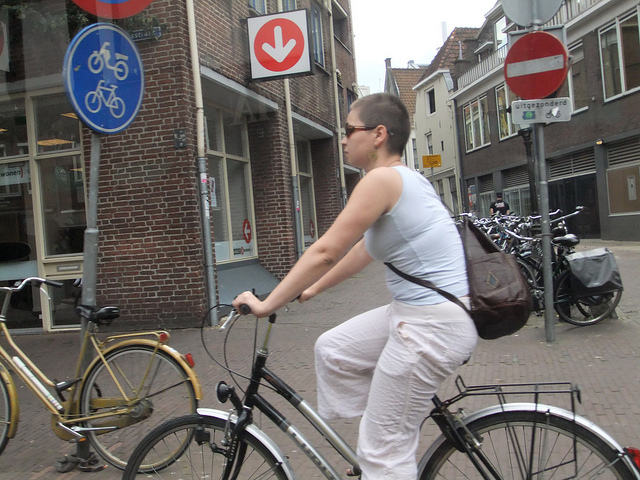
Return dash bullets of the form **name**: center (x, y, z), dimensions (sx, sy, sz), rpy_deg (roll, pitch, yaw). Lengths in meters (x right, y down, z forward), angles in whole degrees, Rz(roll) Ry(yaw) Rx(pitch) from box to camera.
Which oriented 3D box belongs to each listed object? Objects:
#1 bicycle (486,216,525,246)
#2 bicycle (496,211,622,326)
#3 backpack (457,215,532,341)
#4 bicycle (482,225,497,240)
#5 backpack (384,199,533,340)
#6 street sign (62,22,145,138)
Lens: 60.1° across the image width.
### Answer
- **bicycle**: center (3.545, -0.185, 10.522), dimensions (0.566, 0.347, 0.380), rpy_deg (-26, 12, 13)
- **bicycle**: center (3.563, 0.487, 7.781), dimensions (1.385, 1.461, 2.472), rpy_deg (8, -7, 6)
- **backpack**: center (0.790, 0.139, 2.729), dimensions (0.324, 0.558, 0.395), rpy_deg (-9, -18, -8)
- **bicycle**: center (3.033, -0.153, 9.847), dimensions (0.247, 0.296, 0.781), rpy_deg (-2, -8, 21)
- **backpack**: center (0.643, 0.136, 2.810), dimensions (0.691, 0.597, 0.400), rpy_deg (-11, -20, 29)
- **street sign**: center (-1.576, -1.189, 4.072), dimensions (0.077, 0.743, 0.816), rpy_deg (11, 18, 19)
